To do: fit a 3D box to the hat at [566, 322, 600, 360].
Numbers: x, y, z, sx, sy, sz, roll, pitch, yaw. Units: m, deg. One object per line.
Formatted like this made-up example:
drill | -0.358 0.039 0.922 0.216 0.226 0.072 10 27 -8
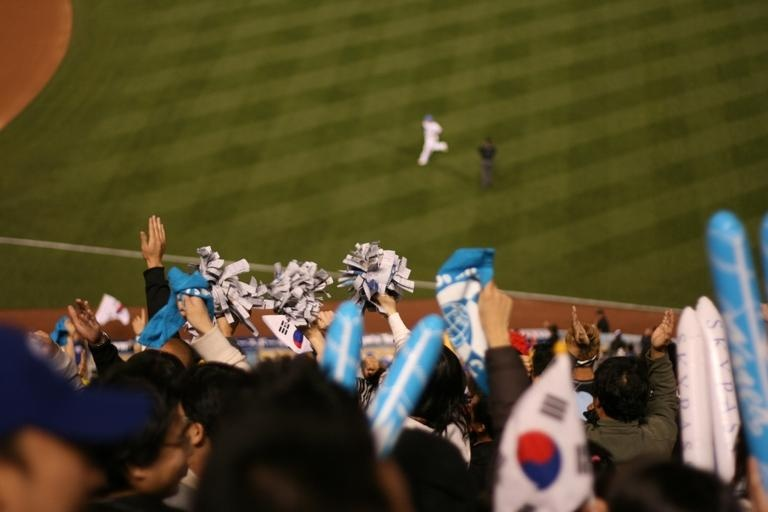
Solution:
hat | 2.021 0.828 11.611 0.289 0.394 0.176 -3 -16 -11
